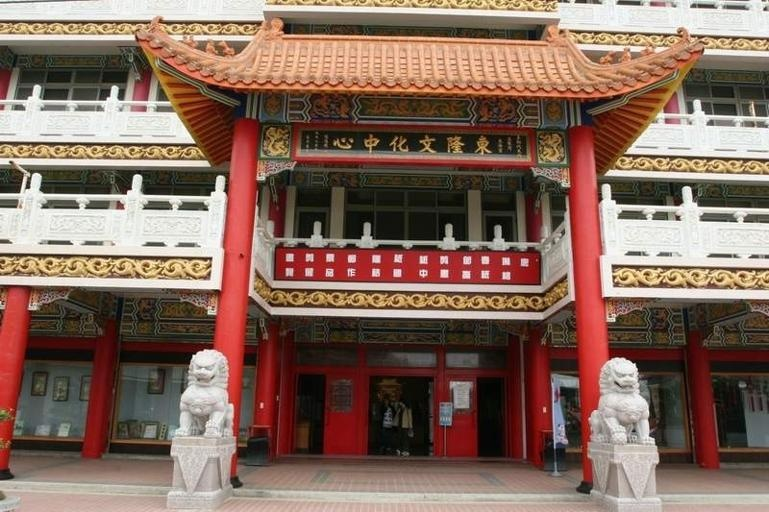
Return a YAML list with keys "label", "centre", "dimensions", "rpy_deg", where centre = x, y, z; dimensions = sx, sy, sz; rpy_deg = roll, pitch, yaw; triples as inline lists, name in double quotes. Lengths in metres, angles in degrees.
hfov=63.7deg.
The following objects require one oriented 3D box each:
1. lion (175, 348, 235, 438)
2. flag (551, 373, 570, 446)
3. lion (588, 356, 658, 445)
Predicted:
- label: "lion"
  centre: [-3.402, 2.654, 11.881]
  dimensions: [1.055, 1.671, 0.624]
  rpy_deg: [4, -13, -25]
- label: "flag"
  centre: [4.583, 4.143, 16.365]
  dimensions: [0.348, 1.844, 1.569]
  rpy_deg: [-5, -12, 15]
- label: "lion"
  centre: [4.661, 2.877, 12.176]
  dimensions: [1.104, 1.529, 1.633]
  rpy_deg: [5, -15, 0]
